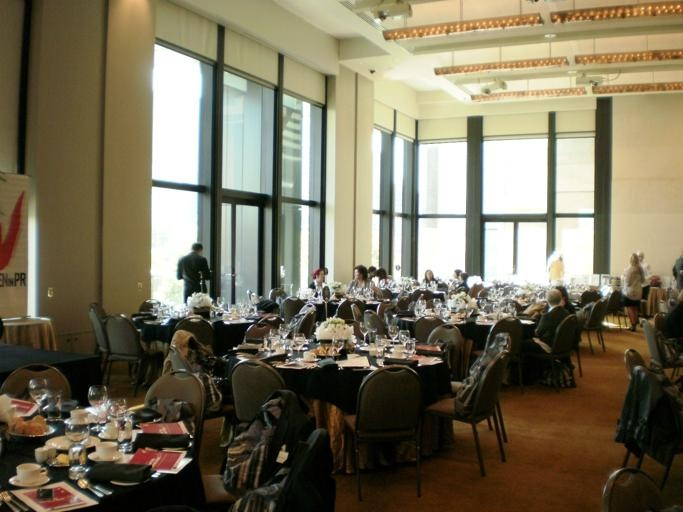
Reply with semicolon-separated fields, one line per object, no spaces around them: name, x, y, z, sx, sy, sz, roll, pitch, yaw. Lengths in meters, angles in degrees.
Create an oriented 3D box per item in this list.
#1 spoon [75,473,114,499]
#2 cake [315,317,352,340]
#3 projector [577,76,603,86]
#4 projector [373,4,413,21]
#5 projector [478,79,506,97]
spoon;-1.389;1.310;3.217;0.257;0.048;0.086;14;18;36
cake;-0.071;0.752;5.793;0.240;0.154;0.248;4;-7;-24
projector;5.502;-3.845;12.606;0.493;0.179;1.160;13;15;26
projector;0.796;-3.725;8.692;0.346;0.143;0.363;0;3;29
projector;3.393;-3.739;12.630;0.778;0.282;0.633;-3;4;16
